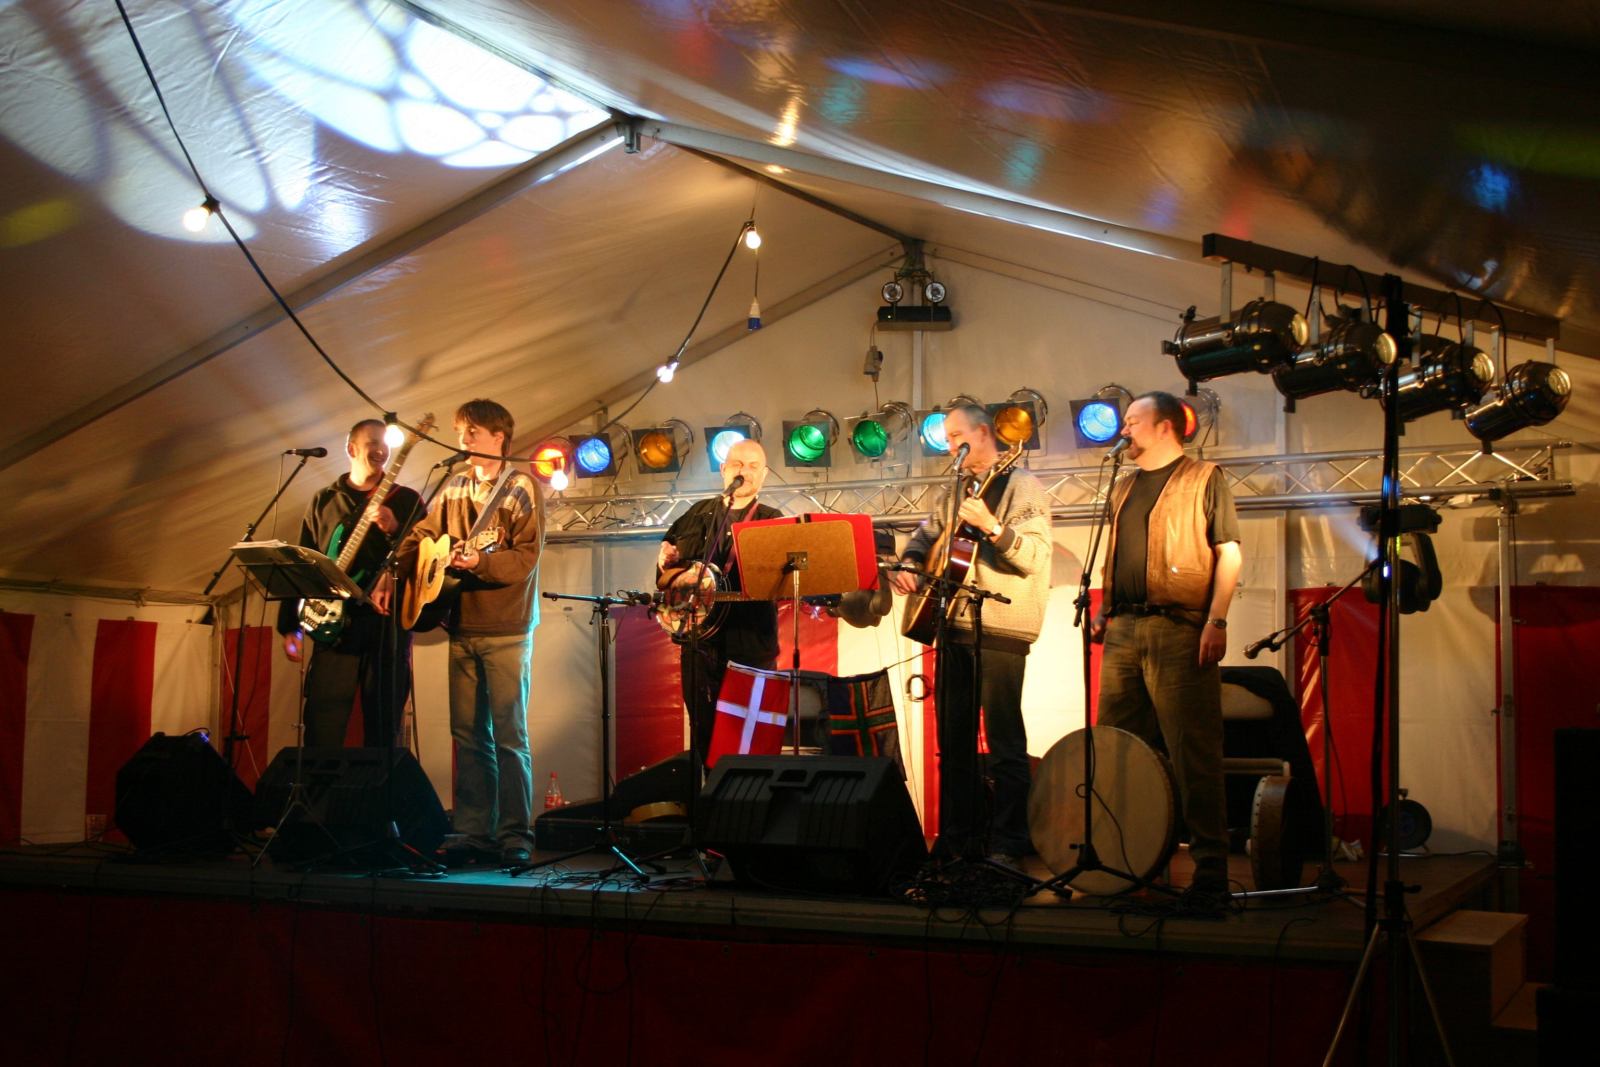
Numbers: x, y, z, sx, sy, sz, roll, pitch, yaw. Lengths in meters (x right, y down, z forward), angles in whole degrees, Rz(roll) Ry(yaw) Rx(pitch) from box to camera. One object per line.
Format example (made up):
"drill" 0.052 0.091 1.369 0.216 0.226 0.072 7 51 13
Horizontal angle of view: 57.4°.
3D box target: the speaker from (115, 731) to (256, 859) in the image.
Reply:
"speaker" -3.972 1.684 9.475 0.645 0.914 0.836 -1 -3 40

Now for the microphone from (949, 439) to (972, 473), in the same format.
"microphone" 1.057 -0.502 9.416 0.075 0.206 0.143 10 -2 -36

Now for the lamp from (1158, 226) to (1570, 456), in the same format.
"lamp" 3.302 -1.038 8.258 2.317 1.326 1.284 4 -7 -14

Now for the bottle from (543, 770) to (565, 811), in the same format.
"bottle" -2.201 2.292 12.978 0.206 0.210 0.530 -4 34 -7

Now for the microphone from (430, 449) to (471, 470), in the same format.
"microphone" -2.298 -0.481 9.567 0.137 0.200 0.647 -1 -1 -21

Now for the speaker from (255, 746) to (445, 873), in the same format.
"speaker" -2.803 1.695 8.992 0.927 0.677 0.776 -1 -4 20

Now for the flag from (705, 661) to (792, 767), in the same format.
"flag" -0.326 1.112 9.076 0.540 0.568 0.133 6 -6 15

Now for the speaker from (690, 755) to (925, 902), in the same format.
"speaker" 0.094 1.605 8.283 1.075 0.734 0.810 -4 -1 31

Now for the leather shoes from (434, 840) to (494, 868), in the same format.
"leather shoes" -2.087 1.979 9.116 0.303 0.138 0.175 1 2 -11

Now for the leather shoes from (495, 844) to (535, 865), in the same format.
"leather shoes" -1.770 1.969 8.960 0.199 0.140 0.212 3 -7 -2

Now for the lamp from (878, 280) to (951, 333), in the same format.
"lamp" 1.006 -1.983 12.821 0.781 0.546 0.410 -1 -11 1

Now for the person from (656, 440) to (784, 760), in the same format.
"person" -0.560 0.371 9.293 0.554 1.837 1.100 14 -32 -36

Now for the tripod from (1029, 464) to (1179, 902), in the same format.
"tripod" 1.753 0.784 8.541 0.779 2.550 1.401 1 -7 9

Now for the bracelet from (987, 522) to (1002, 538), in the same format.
"bracelet" 1.183 -0.023 8.893 0.047 0.073 0.120 -4 -9 44

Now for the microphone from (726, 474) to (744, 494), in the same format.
"microphone" -0.418 -0.323 9.264 0.064 0.076 0.120 -4 -9 -31

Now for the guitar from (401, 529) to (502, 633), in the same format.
"guitar" -2.299 0.297 9.201 0.303 0.585 0.417 7 -8 -33
